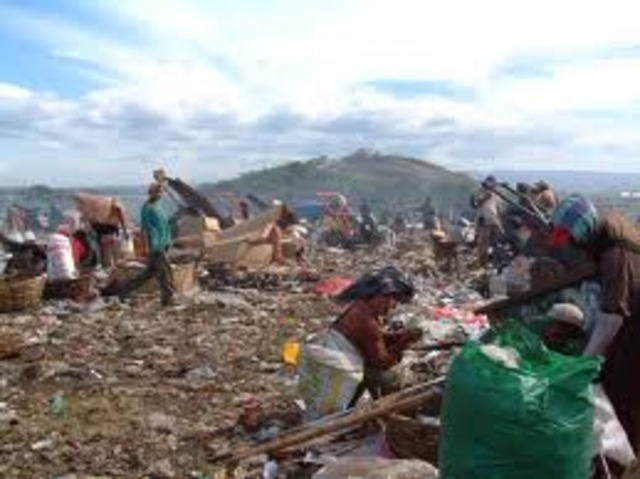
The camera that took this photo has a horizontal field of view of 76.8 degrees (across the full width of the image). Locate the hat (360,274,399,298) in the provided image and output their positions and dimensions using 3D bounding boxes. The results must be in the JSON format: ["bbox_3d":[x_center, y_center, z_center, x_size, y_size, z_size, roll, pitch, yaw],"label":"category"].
[{"bbox_3d":[0.440,0.360,3.158,0.307,0.122,0.169,-6,1,1],"label":"hat"}]

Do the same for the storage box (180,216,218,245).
[{"bbox_3d":[-3.406,-0.175,11.345,0.885,0.668,1.118,-3,-3,1],"label":"storage box"}]

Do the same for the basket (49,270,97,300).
[{"bbox_3d":[-3.606,0.666,5.829,0.571,0.285,0.554,-1,10,-19],"label":"basket"}]

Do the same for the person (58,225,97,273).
[{"bbox_3d":[-3.980,0.019,6.635,0.452,0.752,0.388,-16,-17,-10],"label":"person"}]

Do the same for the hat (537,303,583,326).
[{"bbox_3d":[1.650,0.506,2.780,0.258,0.095,0.161,3,-6,21],"label":"hat"}]

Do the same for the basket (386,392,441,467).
[{"bbox_3d":[0.650,1.199,2.613,0.391,0.277,0.438,0,-10,-31],"label":"basket"}]

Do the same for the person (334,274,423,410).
[{"bbox_3d":[0.447,0.733,3.126,0.618,0.902,0.447,-3,13,-29],"label":"person"}]

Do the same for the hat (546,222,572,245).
[{"bbox_3d":[1.532,-0.037,2.521,0.195,0.056,0.128,-41,18,-22],"label":"hat"}]

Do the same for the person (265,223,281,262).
[{"bbox_3d":[-1.019,0.085,9.436,0.295,0.920,0.703,4,11,4],"label":"person"}]

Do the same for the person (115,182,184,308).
[{"bbox_3d":[-2.475,0.041,5.777,0.681,1.705,0.795,-1,12,-19],"label":"person"}]
